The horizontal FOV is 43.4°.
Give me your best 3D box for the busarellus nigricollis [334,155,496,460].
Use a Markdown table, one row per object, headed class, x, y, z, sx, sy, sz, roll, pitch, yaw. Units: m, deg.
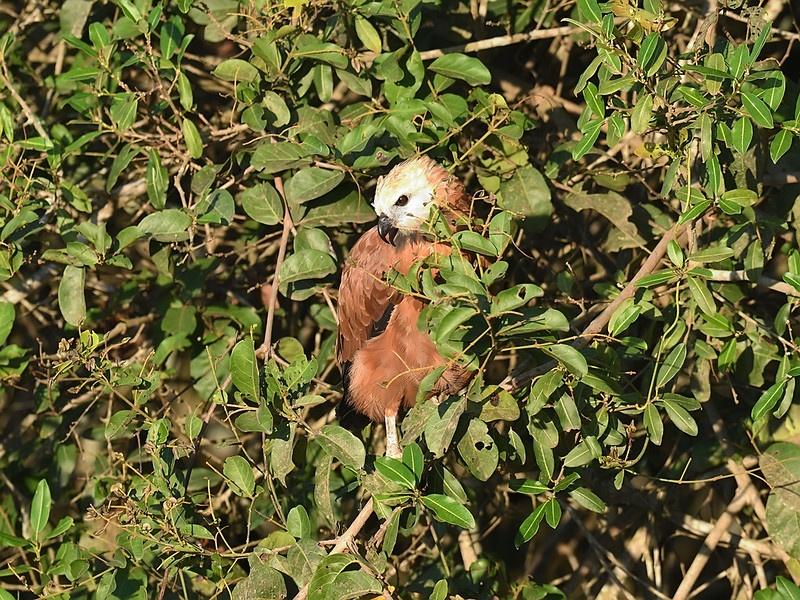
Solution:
| class | x | y | z | sx | sy | sz | roll | pitch | yaw |
| --- | --- | --- | --- | --- | --- | --- | --- | --- | --- |
| busarellus nigricollis | -0.021 | -0.028 | 4.823 | 0.653 | 1.410 | 1.428 | 4 | 79 | 3 |
